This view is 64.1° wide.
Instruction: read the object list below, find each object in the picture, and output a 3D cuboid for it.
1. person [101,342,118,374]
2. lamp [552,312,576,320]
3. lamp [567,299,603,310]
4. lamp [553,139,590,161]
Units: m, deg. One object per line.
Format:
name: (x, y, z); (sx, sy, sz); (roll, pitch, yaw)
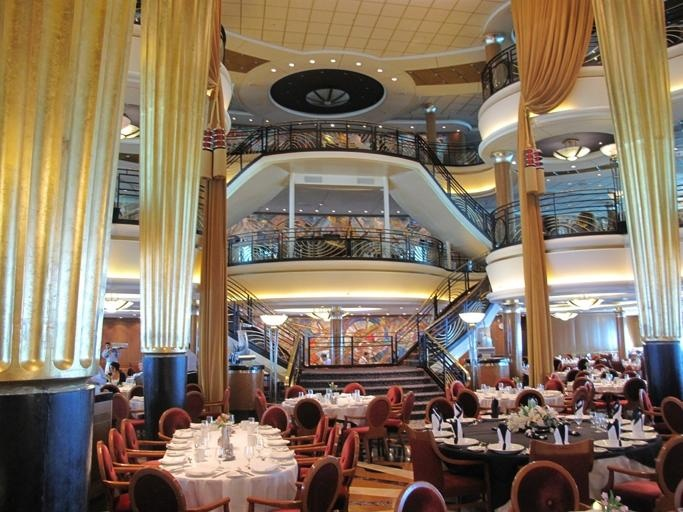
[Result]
person: (-5.039, 2.322, 11.953); (0.347, 0.949, 0.310); (-3, 29, -20)
lamp: (7.509, 2.006, 18.398); (0.556, 0.154, 0.568); (-1, -12, 7)
lamp: (5.496, 1.057, 12.351); (0.580, 0.157, 1.377); (-5, -10, 21)
lamp: (5.276, -2.415, 12.429); (0.453, 0.253, 0.456); (-1, 0, -13)
